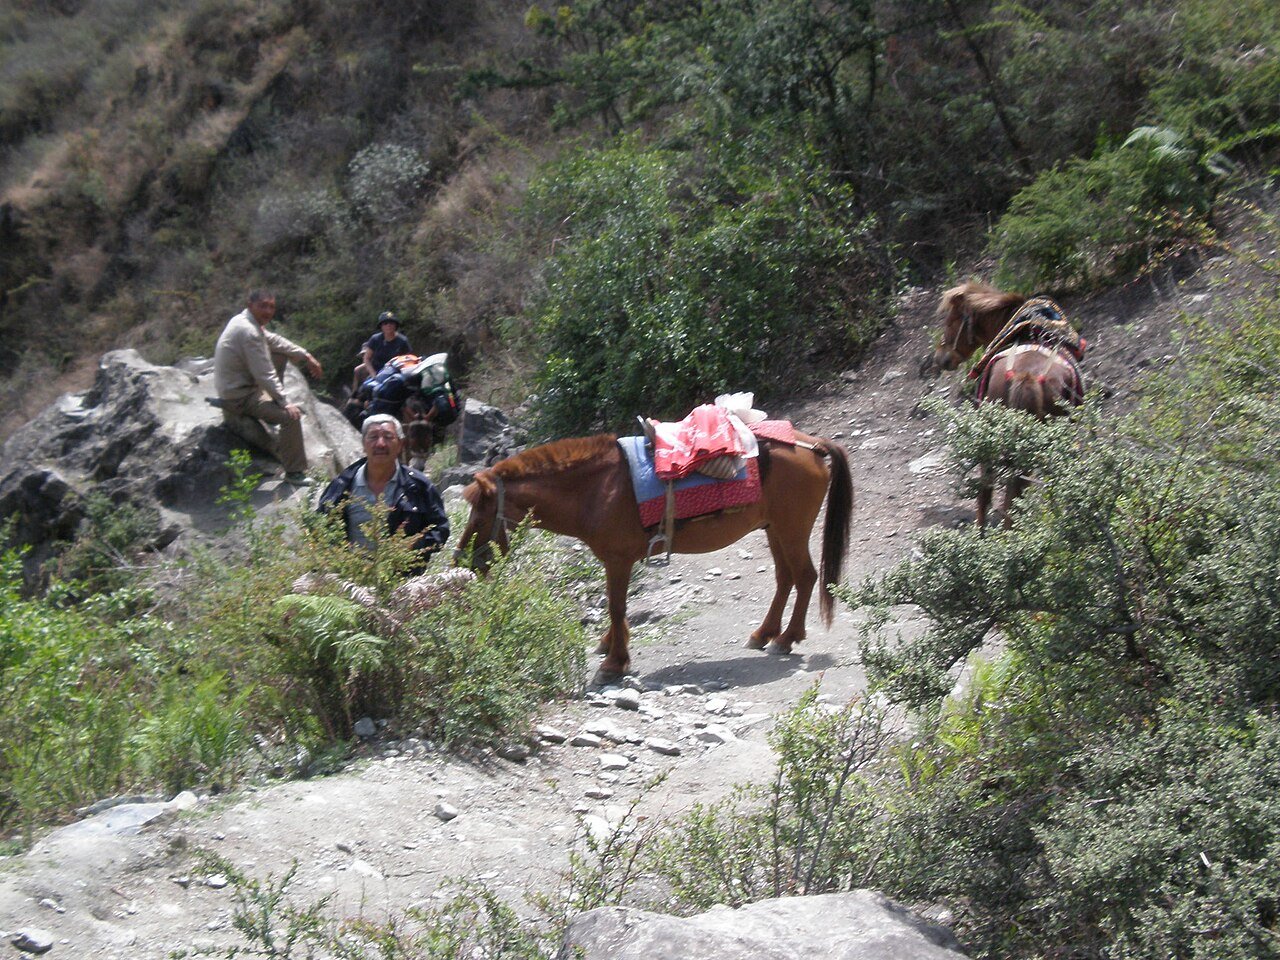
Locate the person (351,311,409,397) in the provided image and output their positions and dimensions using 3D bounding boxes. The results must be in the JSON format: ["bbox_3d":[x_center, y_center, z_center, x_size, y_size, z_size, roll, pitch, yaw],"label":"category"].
[{"bbox_3d":[-3.768,-1.676,23.946,0.654,1.474,0.800,3,-6,33],"label":"person"}]

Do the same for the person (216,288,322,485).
[{"bbox_3d":[-4.173,-1.083,18.538,1.129,1.978,1.122,-4,17,-15],"label":"person"}]

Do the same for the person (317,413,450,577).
[{"bbox_3d":[-2.222,0.299,13.863,1.126,1.656,0.900,5,10,-2],"label":"person"}]
